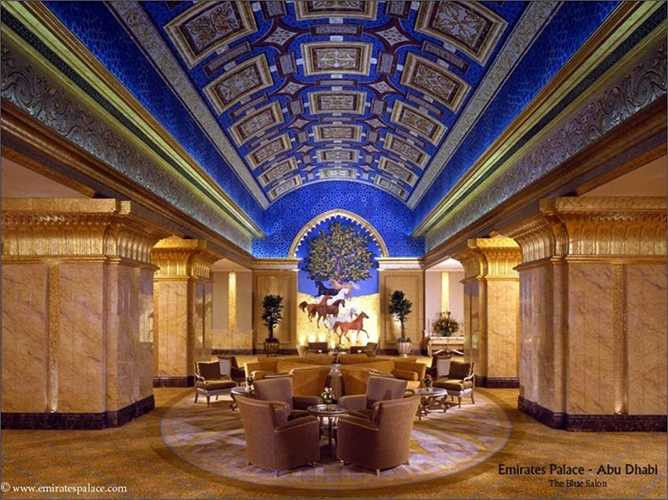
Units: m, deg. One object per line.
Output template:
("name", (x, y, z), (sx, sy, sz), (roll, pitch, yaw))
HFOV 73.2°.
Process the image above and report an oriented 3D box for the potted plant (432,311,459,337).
("potted plant", (5.023, 3.352, 19.954), (1.098, 1.143, 1.077), (2, 5, -10))
